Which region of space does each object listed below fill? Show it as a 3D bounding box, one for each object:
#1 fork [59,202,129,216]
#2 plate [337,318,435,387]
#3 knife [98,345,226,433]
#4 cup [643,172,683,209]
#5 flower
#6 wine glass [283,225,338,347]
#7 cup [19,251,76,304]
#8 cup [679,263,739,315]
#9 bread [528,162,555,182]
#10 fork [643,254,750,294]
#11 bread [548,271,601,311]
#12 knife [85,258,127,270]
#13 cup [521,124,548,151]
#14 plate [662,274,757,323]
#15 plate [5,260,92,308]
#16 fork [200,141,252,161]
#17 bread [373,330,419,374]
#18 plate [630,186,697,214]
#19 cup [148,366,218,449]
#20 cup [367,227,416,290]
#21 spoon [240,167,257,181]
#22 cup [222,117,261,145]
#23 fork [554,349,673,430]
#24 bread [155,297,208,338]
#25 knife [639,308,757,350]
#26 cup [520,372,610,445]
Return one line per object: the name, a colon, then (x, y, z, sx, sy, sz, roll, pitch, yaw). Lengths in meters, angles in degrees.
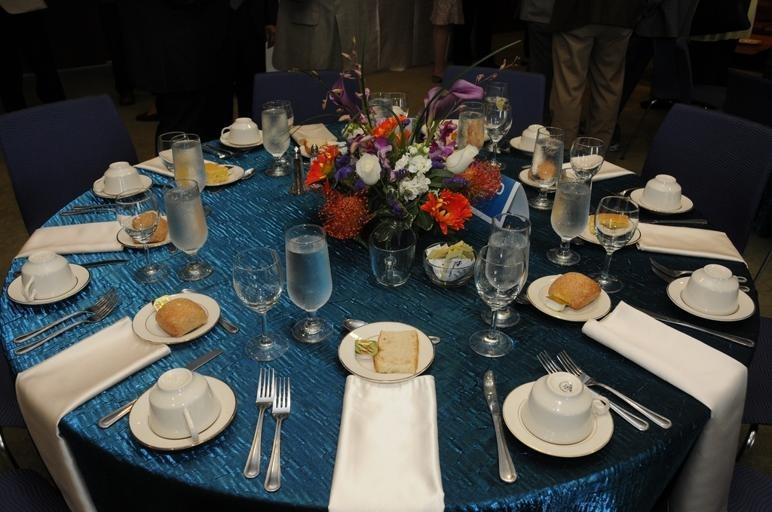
fork: (-1.063, -0.173, 1.977, 0.192, 0.016, 0.063, -9, 47, -10)
plate: (-0.009, 0.264, 1.489, 0.168, 0.026, 0.179, -11, 44, -14)
knife: (-0.579, 0.349, 1.390, 0.323, 0.017, 0.045, -32, 79, -27)
cup: (1.039, -0.235, 2.064, 0.125, 0.098, 0.131, -4, 32, 2)
flower: (0.039, -0.350, 1.936, 0.489, 0.607, 0.535, 18, 34, 9)
wine glass: (-0.219, 0.069, 1.538, 0.123, 0.307, 0.180, -3, 32, -8)
cup: (-1.041, 0.070, 1.714, 0.116, 0.132, 0.155, 11, 29, 17)
cup: (0.980, 0.105, 1.673, 0.136, 0.100, 0.146, -3, 25, 2)
bread: (0.594, -0.322, 2.054, 0.058, 0.068, 0.062, 0, 13, -14)
fork: (0.987, 0.059, 1.721, 0.316, 0.059, 0.063, 7, 51, 14)
bread: (0.572, 0.096, 1.639, 0.112, 0.076, 0.121, 22, 36, 34)
knife: (-0.929, 0.027, 1.794, 0.156, 0.030, 0.019, -6, 0, -8)
cup: (0.666, -0.535, 2.435, 0.116, 0.112, 0.120, -1, 24, 1)
plate: (0.968, 0.138, 1.655, 0.152, 0.027, 0.162, -5, 35, -7)
plate: (-1.029, 0.101, 1.687, 0.155, 0.030, 0.170, 4, 39, 1)
fork: (-0.750, -0.491, 2.439, 0.082, 0.021, 0.242, -26, 34, -32)
bread: (0.027, 0.260, 1.477, 0.121, 0.046, 0.129, 2, 34, 0)
plate: (1.040, -0.215, 2.055, 0.127, 0.025, 0.138, -4, 32, -5)
cup: (-0.501, 0.349, 1.319, 0.119, 0.095, 0.172, -5, 19, -16)
cup: (0.006, -0.020, 1.778, 0.159, 0.205, 0.175, -10, 35, -17)
spoon: (-0.589, -0.350, 2.292, 0.037, 0.016, 0.058, 42, 46, 23)
cup: (-0.690, -0.578, 2.557, 0.154, 0.120, 0.132, 3, 19, 18)
fork: (0.593, 0.353, 1.403, 0.034, 0.037, 0.241, -23, 52, -40)
bread: (-0.589, 0.168, 1.551, 0.105, 0.068, 0.118, -20, 38, -31)
knife: (0.911, 0.214, 1.572, 0.275, 0.015, 0.034, 20, 67, 13)
cup: (0.416, 0.373, 1.314, 0.146, 0.099, 0.153, -6, 38, 4)
